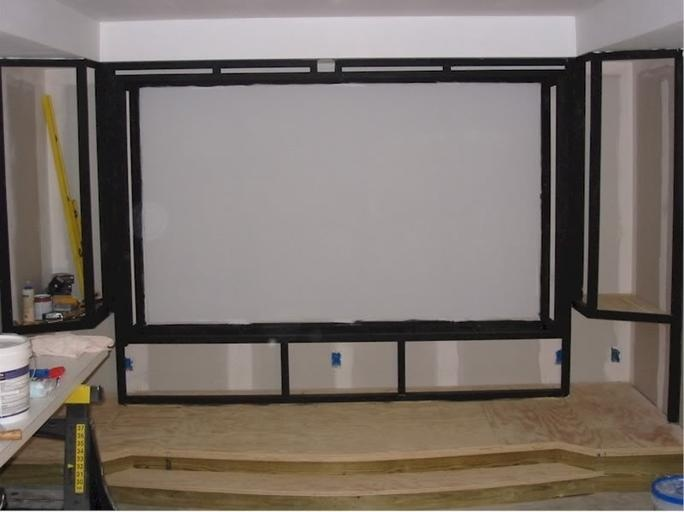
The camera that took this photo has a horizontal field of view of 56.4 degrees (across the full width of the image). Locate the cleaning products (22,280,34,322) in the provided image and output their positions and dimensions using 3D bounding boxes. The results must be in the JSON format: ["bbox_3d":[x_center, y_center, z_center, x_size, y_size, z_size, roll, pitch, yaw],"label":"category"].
[{"bbox_3d":[-2.300,0.349,4.637,0.089,0.278,0.182,0,-2,-27],"label":"cleaning products"}]
